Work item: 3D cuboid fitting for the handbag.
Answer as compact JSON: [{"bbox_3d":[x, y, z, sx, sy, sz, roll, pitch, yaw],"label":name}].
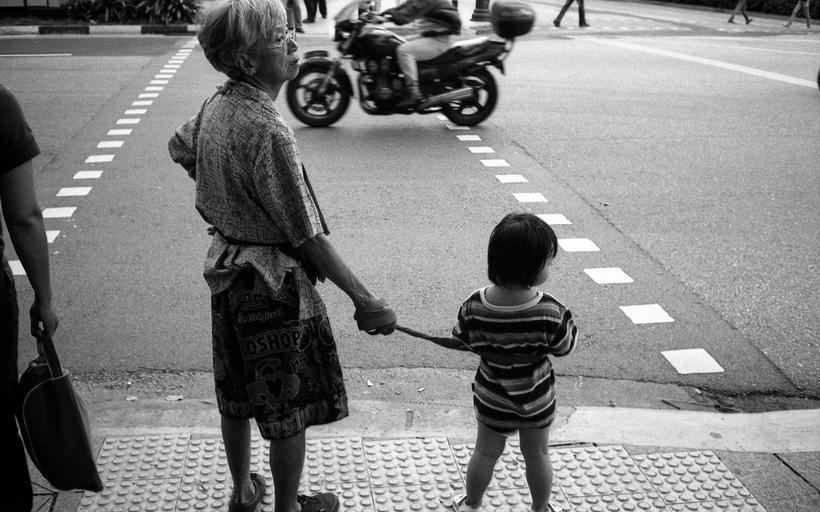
[{"bbox_3d":[-1.992,0.925,3.827,0.309,0.687,0.724,-17,40,-30],"label":"handbag"}]
